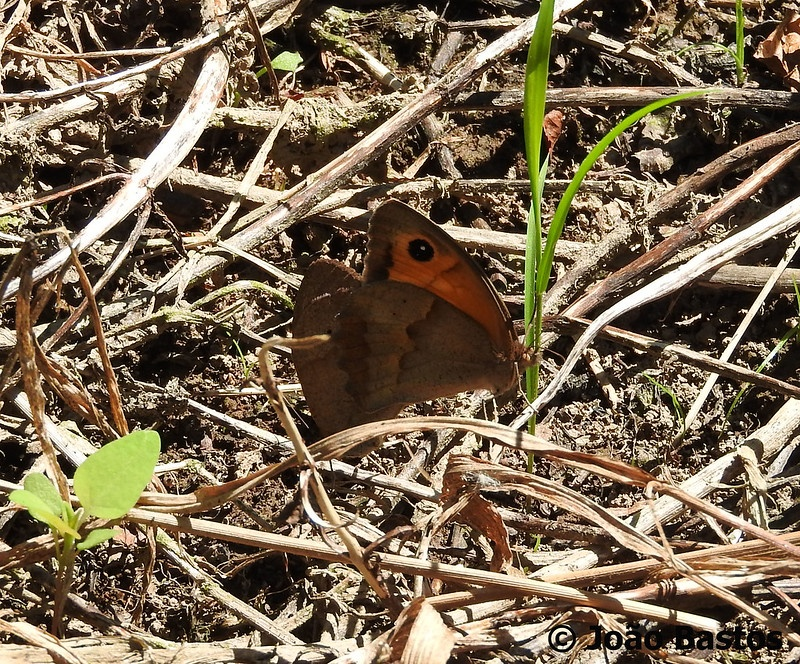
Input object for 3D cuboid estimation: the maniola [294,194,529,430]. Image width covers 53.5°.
[{"bbox_3d":[-0.031,-0.059,2.635,0.752,0.666,0.546,-15,63,-7],"label":"maniola"}]
